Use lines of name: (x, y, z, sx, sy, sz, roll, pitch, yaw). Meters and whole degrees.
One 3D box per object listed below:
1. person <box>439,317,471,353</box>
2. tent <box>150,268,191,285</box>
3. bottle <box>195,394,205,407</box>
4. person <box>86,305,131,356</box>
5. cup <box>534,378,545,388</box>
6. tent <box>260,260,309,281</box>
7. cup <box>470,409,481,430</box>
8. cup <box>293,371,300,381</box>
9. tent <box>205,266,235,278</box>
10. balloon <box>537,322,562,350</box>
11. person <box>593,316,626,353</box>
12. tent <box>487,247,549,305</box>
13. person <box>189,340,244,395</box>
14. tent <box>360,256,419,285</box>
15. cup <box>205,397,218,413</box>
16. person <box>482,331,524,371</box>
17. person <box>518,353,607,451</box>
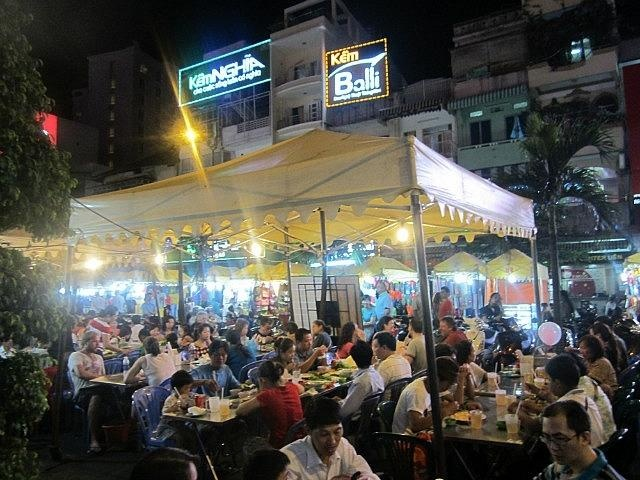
person: (2.732, 1.938, 10.555, 0.534, 0.701, 0.702, 3, 5, -3)
tent: (-5.966, 1.372, 19.854, 0.835, 0.378, 1.201, 2, -6, 30)
bottle: (-1.778, 2.377, 7.658, 0.189, 0.213, 0.167, 1, -7, -13)
person: (-5.756, 2.579, 14.140, 1.097, 1.505, 0.690, 1, 0, -25)
cup: (3.433, 2.241, 8.039, 0.120, 0.115, 0.123, -1, -3, 0)
tent: (-1.455, 1.208, 19.653, 1.297, 0.647, 1.324, -1, -5, 15)
cup: (1.980, 2.281, 6.508, 0.190, 0.180, 0.130, -2, -1, 29)
cup: (-0.402, 2.356, 8.885, 0.113, 0.187, 0.115, 0, 4, 0)
tent: (-4.044, 1.353, 21.898, 0.804, 0.574, 0.819, 0, 1, 30)
balloon: (4.586, 1.927, 10.233, 0.493, 0.509, 0.277, -4, 6, 22)
person: (5.706, 1.862, 10.091, 0.749, 0.403, 0.763, 8, 13, 25)
tent: (6.680, 1.223, 18.216, 2.318, 1.747, 2.438, -3, -2, 1)
person: (-1.830, 2.318, 9.241, 0.815, 1.139, 0.645, 5, -14, -41)
tent: (2.445, 1.022, 18.196, 1.472, 0.665, 1.569, 4, -14, -7)
cup: (-1.542, 2.345, 7.350, 0.200, 0.236, 0.172, 0, 0, 9)
person: (3.991, 2.413, 11.072, 0.935, 0.947, 0.701, -6, -3, -7)
person: (3.090, 2.116, 6.485, 0.978, 1.413, 0.721, 0, 16, 27)
